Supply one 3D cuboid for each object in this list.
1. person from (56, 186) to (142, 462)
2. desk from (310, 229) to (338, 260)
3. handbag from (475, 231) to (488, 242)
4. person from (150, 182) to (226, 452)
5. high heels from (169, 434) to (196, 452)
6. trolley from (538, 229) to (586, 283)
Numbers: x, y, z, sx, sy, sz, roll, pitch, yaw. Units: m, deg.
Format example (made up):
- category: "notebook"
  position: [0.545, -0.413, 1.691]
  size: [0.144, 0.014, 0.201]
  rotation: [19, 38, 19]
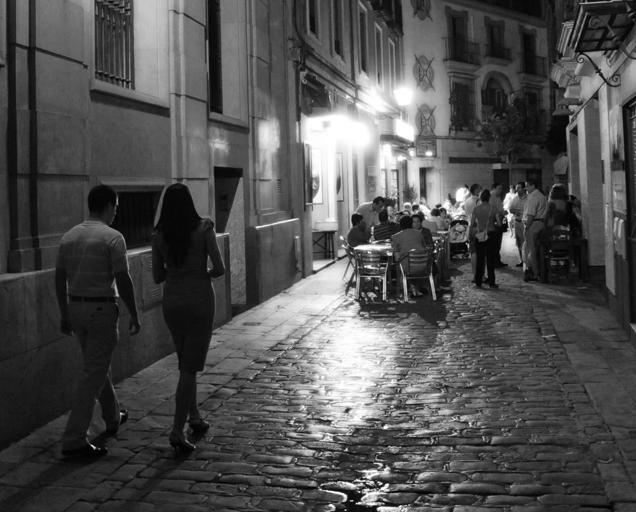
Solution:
- category: "person"
  position: [-1.884, 0.525, 5.506]
  size: [0.654, 2.236, 0.526]
  rotation: [-3, 5, -23]
- category: "desk"
  position: [0.218, -0.357, 20.167]
  size: [0.886, 1.017, 0.754]
  rotation: [1, 7, 12]
- category: "handbag"
  position: [3.614, -0.437, 14.181]
  size: [0.265, 0.232, 0.106]
  rotation: [0, 5, 14]
- category: "person"
  position: [-1.094, 0.505, 5.495]
  size: [0.569, 2.241, 0.418]
  rotation: [-3, 5, -22]
- category: "high heels"
  position: [-1.129, 1.573, 5.439]
  size: [0.093, 0.161, 0.292]
  rotation: [4, -5, 31]
- category: "trolley"
  position: [5.509, -0.040, 14.634]
  size: [1.016, 1.591, 1.087]
  rotation: [0, 7, 19]
